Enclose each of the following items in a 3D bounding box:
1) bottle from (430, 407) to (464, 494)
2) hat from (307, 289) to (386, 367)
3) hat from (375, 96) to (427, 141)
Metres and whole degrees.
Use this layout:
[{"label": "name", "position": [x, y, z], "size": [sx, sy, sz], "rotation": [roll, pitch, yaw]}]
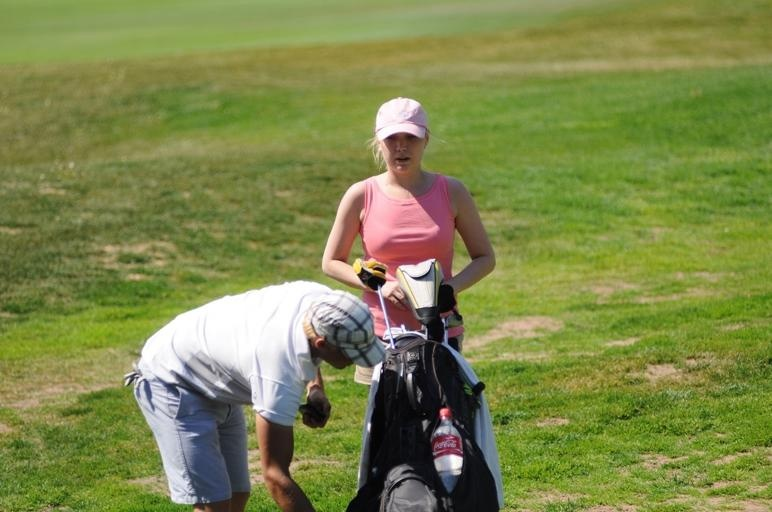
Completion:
[{"label": "bottle", "position": [0.598, 1.878, 18.147], "size": [0.317, 0.757, 0.311], "rotation": [-5, 12, 1]}, {"label": "hat", "position": [-0.331, 0.668, 18.006], "size": [0.529, 0.782, 0.399], "rotation": [-50, -1, -35]}, {"label": "hat", "position": [0.143, -1.373, 18.851], "size": [0.528, 0.417, 0.263], "rotation": [-5, 12, 0]}]
